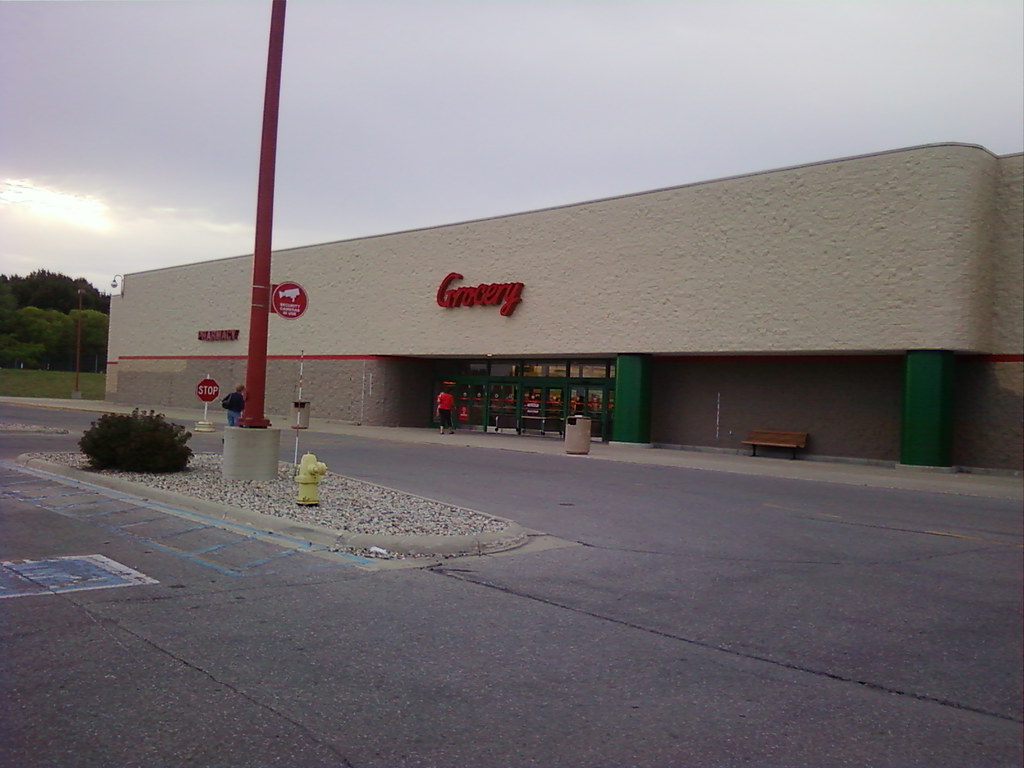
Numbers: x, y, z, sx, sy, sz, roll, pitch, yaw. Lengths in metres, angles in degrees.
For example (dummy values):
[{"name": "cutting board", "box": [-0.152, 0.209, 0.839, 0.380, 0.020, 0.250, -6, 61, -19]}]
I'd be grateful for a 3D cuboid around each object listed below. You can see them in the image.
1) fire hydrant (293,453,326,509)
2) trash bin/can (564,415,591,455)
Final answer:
[{"name": "fire hydrant", "box": [-3.386, 1.593, 11.362, 0.411, 0.826, 0.351, 4, -4, -19]}, {"name": "trash bin/can", "box": [2.267, 1.769, 23.599, 0.775, 1.256, 0.610, 3, -4, 2]}]
